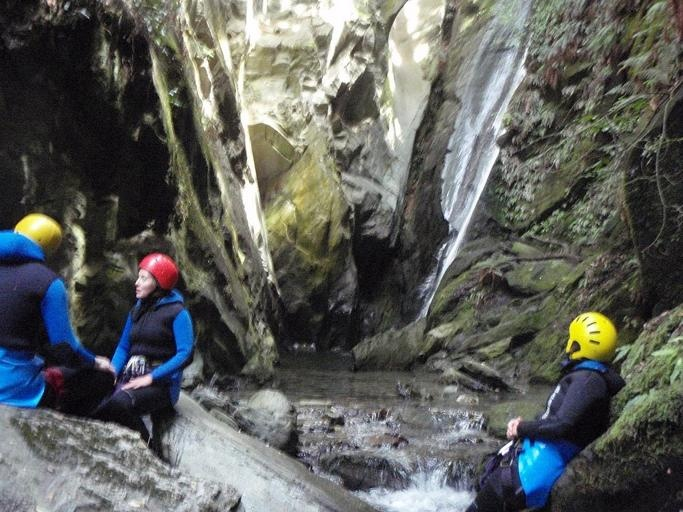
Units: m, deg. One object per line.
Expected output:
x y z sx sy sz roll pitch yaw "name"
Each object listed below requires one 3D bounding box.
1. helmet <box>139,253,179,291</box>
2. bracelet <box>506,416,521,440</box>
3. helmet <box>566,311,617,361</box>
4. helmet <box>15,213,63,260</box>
-1.890 0.124 6.552 0.391 0.381 0.324 6 16 -24 "helmet"
1.612 1.603 5.938 0.079 0.238 0.163 14 -5 0 "bracelet"
2.375 0.751 5.945 0.476 0.589 0.410 3 0 40 "helmet"
-2.920 -0.257 6.061 0.324 0.427 0.409 25 -3 -32 "helmet"
